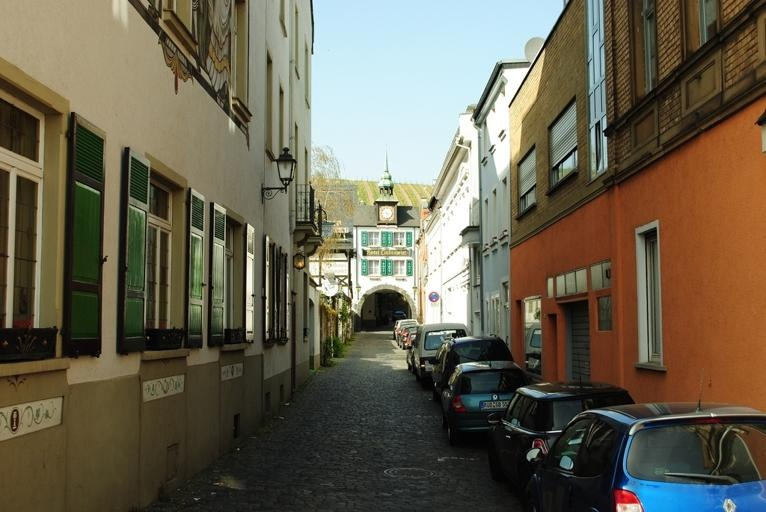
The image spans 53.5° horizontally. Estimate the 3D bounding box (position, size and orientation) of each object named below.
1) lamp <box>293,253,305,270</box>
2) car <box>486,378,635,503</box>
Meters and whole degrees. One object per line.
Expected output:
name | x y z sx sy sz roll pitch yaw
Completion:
lamp | -2.644 0.182 24.151 0.366 0.689 0.409 0 0 -13
car | 2.322 2.705 11.364 1.227 1.198 2.096 0 -2 -10
